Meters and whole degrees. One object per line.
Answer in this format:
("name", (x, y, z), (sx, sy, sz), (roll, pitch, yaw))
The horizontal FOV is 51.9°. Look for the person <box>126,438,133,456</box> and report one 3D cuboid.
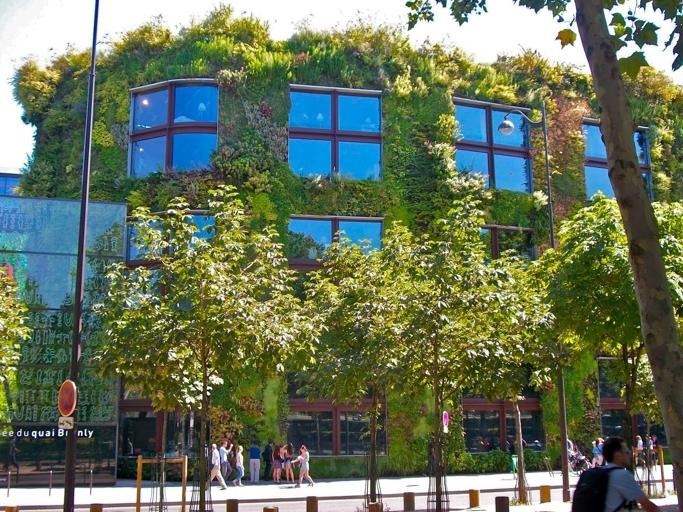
("person", (-10.228, 9.271, 34.124), (0.260, 0.813, 0.209), (1, -15, -14))
